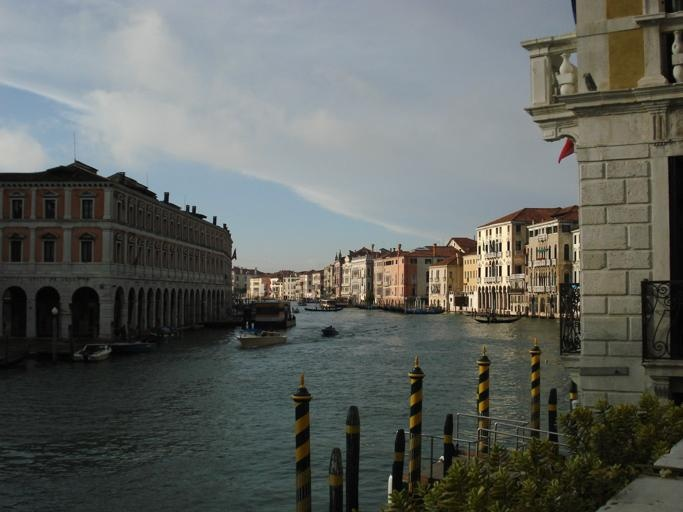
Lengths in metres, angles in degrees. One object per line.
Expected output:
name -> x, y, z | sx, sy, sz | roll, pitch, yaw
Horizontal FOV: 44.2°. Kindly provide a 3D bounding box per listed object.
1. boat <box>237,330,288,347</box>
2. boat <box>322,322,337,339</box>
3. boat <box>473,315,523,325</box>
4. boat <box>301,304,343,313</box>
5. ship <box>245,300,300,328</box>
boat -> -5.624, 6.100, 61.014 | 1.538, 1.205, 4.780 | -3, -10, 28
boat -> -1.123, 6.608, 74.021 | 1.137, 1.147, 0.527 | 3, -18, -9
boat -> 17.656, 7.110, 94.370 | 4.980, 0.838, 1.193 | -1, -1, -21
boat -> -3.623, 10.225, 164.764 | 10.457, 1.426, 2.210 | -4, -5, 44
ship -> -7.465, 6.259, 90.363 | 5.136, 2.529, 7.331 | 0, -3, -1
